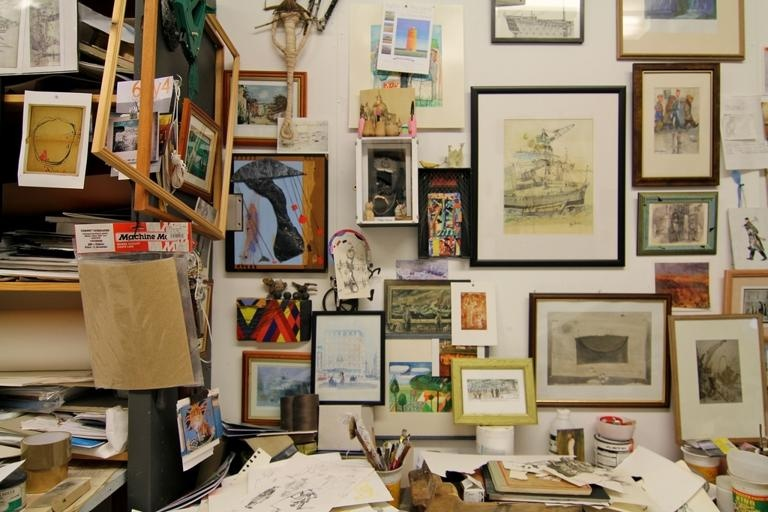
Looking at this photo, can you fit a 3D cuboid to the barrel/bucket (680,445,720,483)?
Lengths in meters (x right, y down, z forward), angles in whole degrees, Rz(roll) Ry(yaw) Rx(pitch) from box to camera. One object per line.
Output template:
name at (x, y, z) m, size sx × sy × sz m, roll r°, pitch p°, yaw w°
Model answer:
barrel/bucket at (1.274, 0.827, 2.773) m, size 0.132 × 0.112 × 0.131 m, roll -1°, pitch 9°, yaw 0°

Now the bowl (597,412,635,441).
bowl at (0.955, 0.709, 2.797) m, size 0.163 × 0.075 × 0.143 m, roll 0°, pitch 1°, yaw 10°

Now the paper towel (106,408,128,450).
paper towel at (-0.940, 0.608, 2.414) m, size 0.041 × 0.137 × 0.097 m, roll 0°, pitch -4°, yaw -10°
